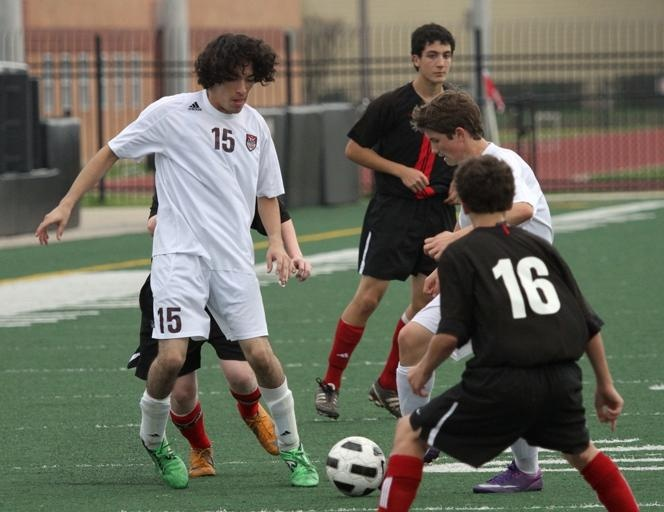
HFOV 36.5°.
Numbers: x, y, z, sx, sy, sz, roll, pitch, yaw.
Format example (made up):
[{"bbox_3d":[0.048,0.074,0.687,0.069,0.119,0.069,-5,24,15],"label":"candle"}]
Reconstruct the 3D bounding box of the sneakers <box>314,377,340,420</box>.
[{"bbox_3d":[-0.034,1.005,7.055,0.113,0.153,0.309,19,4,-19],"label":"sneakers"}]

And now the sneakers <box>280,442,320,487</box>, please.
[{"bbox_3d":[-0.187,1.234,5.882,0.130,0.138,0.325,-19,50,-22],"label":"sneakers"}]

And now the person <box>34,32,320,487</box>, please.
[{"bbox_3d":[-0.739,0.042,5.813,1.201,2.573,0.692,-4,10,-15],"label":"person"}]

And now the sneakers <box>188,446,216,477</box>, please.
[{"bbox_3d":[-0.785,1.236,6.065,0.115,0.152,0.345,0,-10,-10],"label":"sneakers"}]

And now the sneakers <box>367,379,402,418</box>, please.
[{"bbox_3d":[0.362,1.007,7.044,0.311,0.147,0.111,37,18,16],"label":"sneakers"}]
